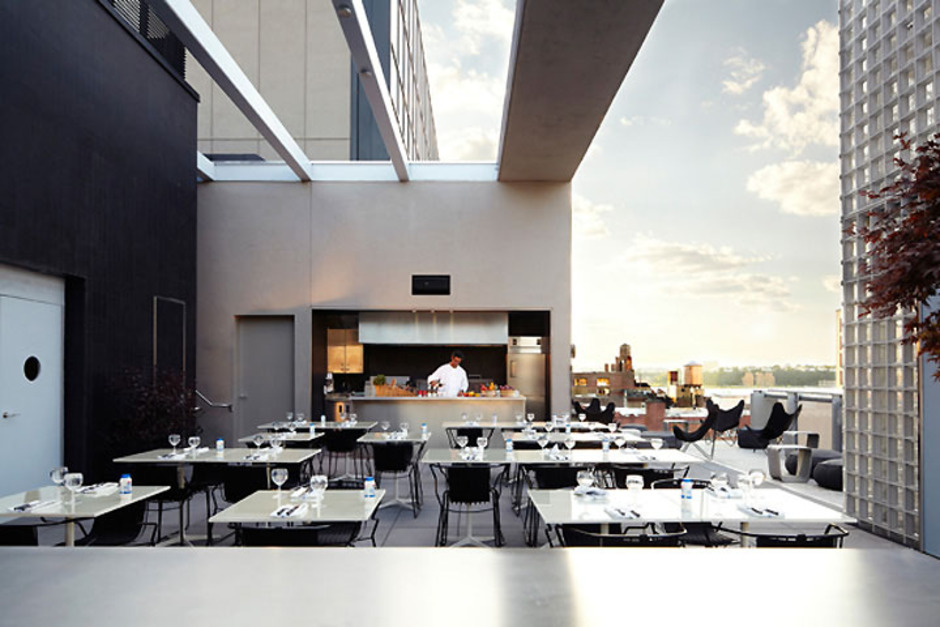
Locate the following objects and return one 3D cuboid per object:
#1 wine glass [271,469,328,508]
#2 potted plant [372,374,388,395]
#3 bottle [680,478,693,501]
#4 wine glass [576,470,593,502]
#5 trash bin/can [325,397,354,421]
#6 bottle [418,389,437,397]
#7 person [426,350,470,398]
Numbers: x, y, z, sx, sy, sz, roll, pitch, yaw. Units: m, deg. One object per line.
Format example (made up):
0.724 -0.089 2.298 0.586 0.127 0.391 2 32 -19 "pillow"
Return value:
-1.647 1.720 7.026 0.495 0.319 0.375 0 -5 -4 "wine glass"
-1.643 1.304 13.122 0.300 0.495 0.296 -2 -7 9 "potted plant"
2.152 1.740 7.181 0.124 0.181 0.346 1 -3 17 "bottle"
1.152 1.723 7.305 0.223 0.342 0.210 -1 -1 6 "wine glass"
-2.437 1.778 13.593 0.521 0.526 0.382 -1 -7 -1 "trash bin/can"
-0.764 1.459 13.164 0.330 0.121 0.516 2 -3 -4 "bottle"
-0.377 1.220 13.459 0.853 1.362 0.730 4 -10 -3 "person"
